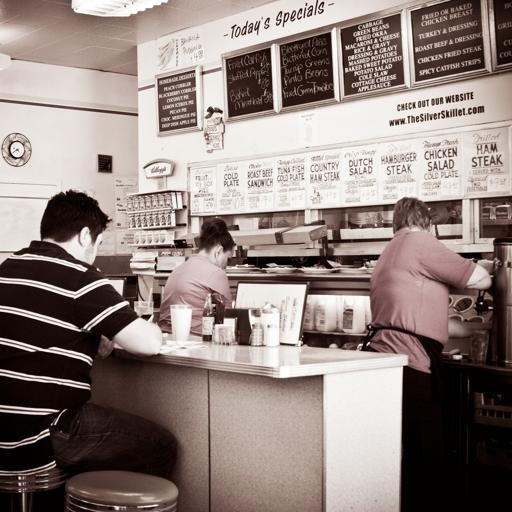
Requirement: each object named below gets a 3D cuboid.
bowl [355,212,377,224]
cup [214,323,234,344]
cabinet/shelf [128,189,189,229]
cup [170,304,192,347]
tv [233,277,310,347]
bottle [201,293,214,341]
[{"bbox_3d":[0.972,-0.324,4.490,0.156,0.094,0.107,-3,-12,37],"label":"bowl"},{"bbox_3d":[-0.143,0.343,2.282,0.073,0.092,0.076,0,-8,0],"label":"cup"},{"bbox_3d":[-1.164,-0.521,5.935,0.777,0.444,0.265,-2,0,30],"label":"cabinet/shelf"},{"bbox_3d":[-0.359,0.320,2.338,0.124,0.209,0.134,1,-5,0],"label":"cup"},{"bbox_3d":[0.063,0.261,2.364,0.017,0.286,0.434,20,-8,-33],"label":"tv"},{"bbox_3d":[-0.231,0.286,2.455,0.056,0.189,0.222,-1,0,-4],"label":"bottle"}]
